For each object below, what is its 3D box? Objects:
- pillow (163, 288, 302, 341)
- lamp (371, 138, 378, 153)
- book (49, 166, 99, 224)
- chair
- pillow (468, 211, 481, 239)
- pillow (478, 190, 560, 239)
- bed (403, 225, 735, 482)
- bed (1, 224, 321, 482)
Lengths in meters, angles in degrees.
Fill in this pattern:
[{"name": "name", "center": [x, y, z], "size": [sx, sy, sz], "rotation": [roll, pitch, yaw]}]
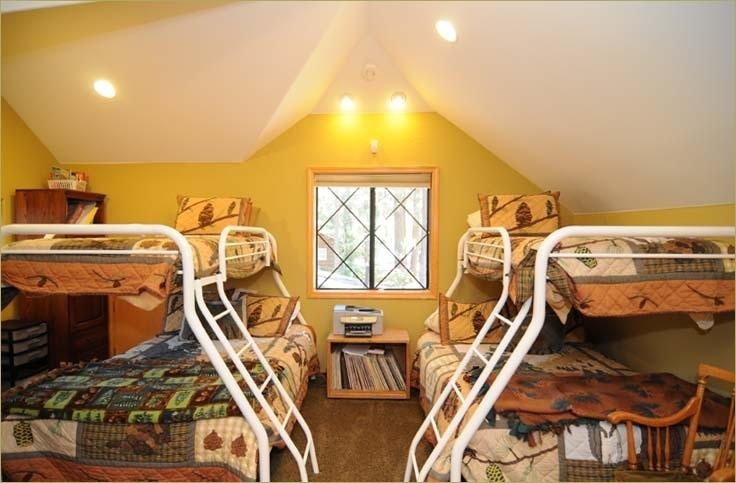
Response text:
[{"name": "pillow", "center": [-1.183, 0.646, 4.597], "size": [0.922, 0.531, 0.298], "rotation": [5, -33, -2]}, {"name": "lamp", "center": [0.060, -0.924, 4.886], "size": [0.083, 0.139, 0.146], "rotation": [1, -4, 7]}, {"name": "book", "center": [-2.695, -0.408, 4.606], "size": [0.212, 0.530, 0.572], "rotation": [0, 3, -6]}, {"name": "chair", "center": [2.003, 1.255, 3.682], "size": [0.776, 1.054, 0.707], "rotation": [1, -14, 13]}, {"name": "pillow", "center": [0.961, -0.153, 4.536], "size": [0.069, 0.212, 0.228], "rotation": [-1, 3, -18]}, {"name": "pillow", "center": [1.297, -0.212, 4.322], "size": [0.507, 0.309, 0.103], "rotation": [0, -10, 6]}, {"name": "bed", "center": [1.153, 0.779, 3.368], "size": [1.975, 1.895, 0.973], "rotation": [-1, -5, 33]}, {"name": "bed", "center": [-1.230, 0.743, 3.430], "size": [1.122, 1.873, 1.851], "rotation": [-2, -6, 40]}]
